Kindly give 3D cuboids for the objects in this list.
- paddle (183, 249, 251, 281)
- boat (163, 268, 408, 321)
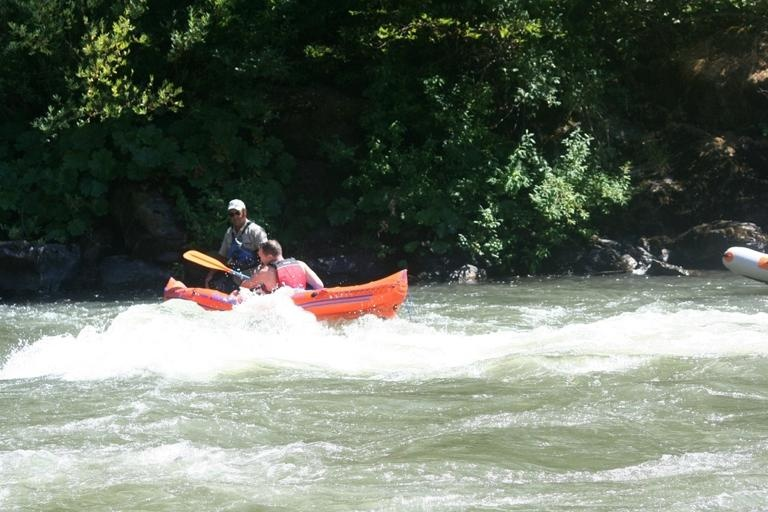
[{"bbox_3d":[-3.565,0.198,24.867,1.864,0.147,0.261,18,48,25],"label":"paddle"},{"bbox_3d":[-1.851,0.834,22.181,4.431,1.013,1.482,-2,-3,10],"label":"boat"}]
